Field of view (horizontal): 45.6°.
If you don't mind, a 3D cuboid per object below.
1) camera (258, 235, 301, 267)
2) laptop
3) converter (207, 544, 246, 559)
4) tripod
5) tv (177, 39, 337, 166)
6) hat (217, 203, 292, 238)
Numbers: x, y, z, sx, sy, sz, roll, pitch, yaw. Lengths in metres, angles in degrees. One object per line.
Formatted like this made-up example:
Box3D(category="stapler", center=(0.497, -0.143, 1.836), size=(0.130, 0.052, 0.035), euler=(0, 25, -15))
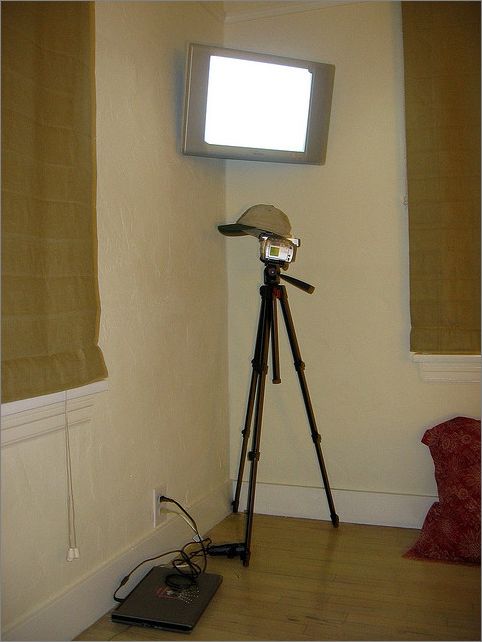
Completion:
Box3D(category="camera", center=(0.145, -0.263, 2.160), size=(0.147, 0.082, 0.094), euler=(0, 0, -5))
Box3D(category="laptop", center=(-0.222, 0.854, 1.768), size=(0.251, 0.058, 0.318), euler=(0, 0, 15))
Box3D(category="converter", center=(-0.057, 0.840, 2.087), size=(0.107, 0.042, 0.074), euler=(-7, -13, 6))
Box3D(category="tripod", center=(0.184, 0.347, 2.346), size=(0.463, 0.764, 0.655), euler=(0, 0, 1))
Box3D(category="tv", center=(0.061, -0.857, 2.262), size=(0.626, 0.411, 0.086), euler=(1, 22, -26))
Box3D(category="hat", center=(0.067, -0.383, 2.244), size=(0.223, 0.116, 0.166), euler=(6, -4, -6))
